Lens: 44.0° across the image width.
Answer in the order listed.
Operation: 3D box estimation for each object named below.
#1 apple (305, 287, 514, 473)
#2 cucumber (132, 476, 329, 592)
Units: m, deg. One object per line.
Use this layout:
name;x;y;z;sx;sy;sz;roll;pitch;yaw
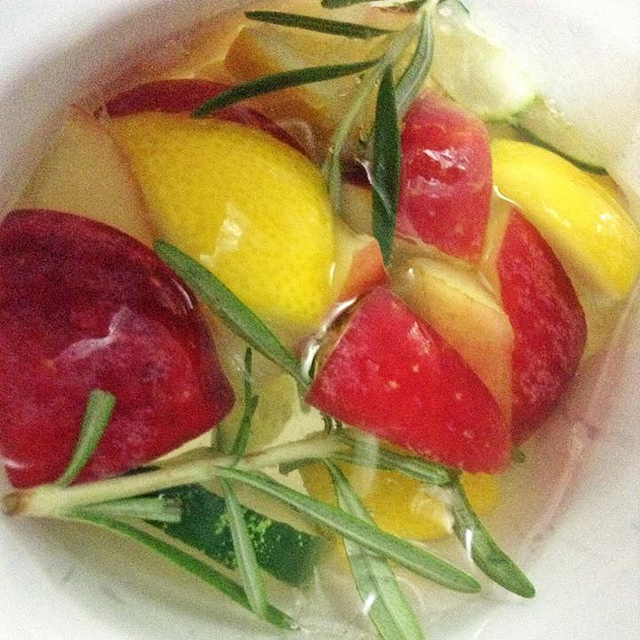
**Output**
apple;0.091;0.068;0.874;0.258;0.087;0.150;33;88;-8
cucumber;-0.092;0.232;0.875;0.203;0.173;0.078;21;61;11
